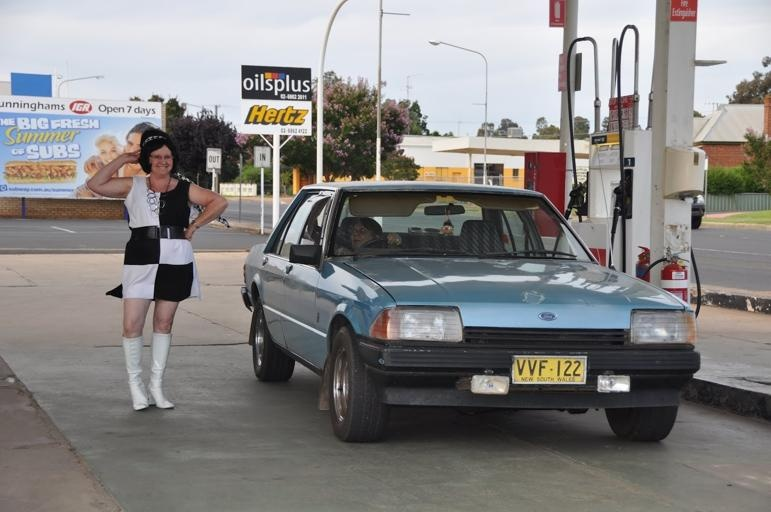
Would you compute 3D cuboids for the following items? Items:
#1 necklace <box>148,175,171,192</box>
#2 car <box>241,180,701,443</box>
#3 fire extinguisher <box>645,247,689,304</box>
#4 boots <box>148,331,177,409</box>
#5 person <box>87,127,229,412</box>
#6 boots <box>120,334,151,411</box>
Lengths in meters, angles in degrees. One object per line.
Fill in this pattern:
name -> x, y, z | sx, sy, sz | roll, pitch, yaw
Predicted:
necklace -> -2.013, -0.646, 7.649 | 0.220, 0.123, 0.112 | 2, 13, -18
car -> 0.312, 0.324, 7.699 | 2.029, 1.292, 3.595 | 2, -1, -19
fire extinguisher -> 3.344, 0.240, 10.103 | 0.321, 0.869, 0.399 | 0, 2, -5
boots -> -2.072, 1.040, 7.816 | 0.272, 0.531, 0.628 | 0, 2, -16
person -> -2.160, 0.093, 8.031 | 1.057, 2.482, 1.300 | 0, 1, -29
boots -> -2.252, 1.044, 7.804 | 0.311, 0.625, 0.299 | 2, -1, 34
